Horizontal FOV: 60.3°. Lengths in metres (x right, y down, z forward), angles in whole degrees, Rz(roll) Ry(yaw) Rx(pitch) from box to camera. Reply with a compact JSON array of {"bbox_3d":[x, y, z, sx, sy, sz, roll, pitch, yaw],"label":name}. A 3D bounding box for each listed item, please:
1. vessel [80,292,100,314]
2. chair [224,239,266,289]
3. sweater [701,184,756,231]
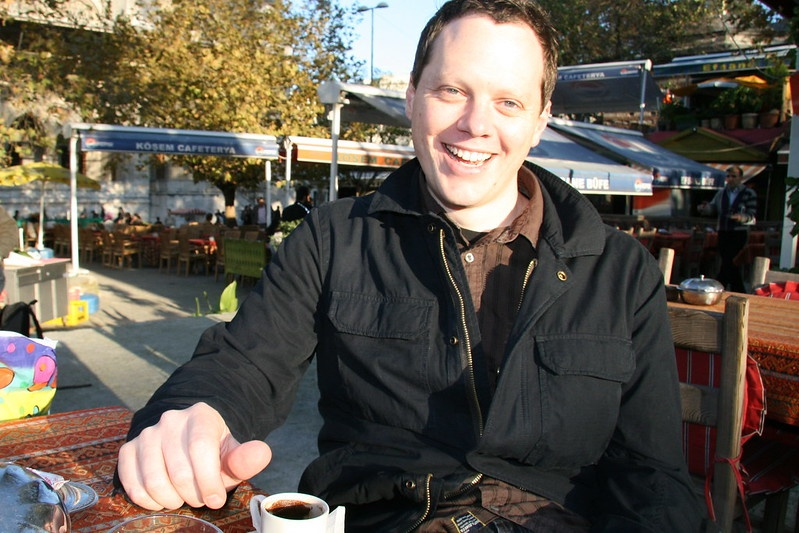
[{"bbox_3d":[-4.827,0.569,10.708,0.290,0.262,0.286,2,-1,-42],"label":"vessel"},{"bbox_3d":[-3.273,-0.231,15.367,1.234,0.845,0.722,8,12,32],"label":"chair"},{"bbox_3d":[5.718,-0.985,11.770,0.565,0.785,0.832,-3,8,-30],"label":"sweater"}]
